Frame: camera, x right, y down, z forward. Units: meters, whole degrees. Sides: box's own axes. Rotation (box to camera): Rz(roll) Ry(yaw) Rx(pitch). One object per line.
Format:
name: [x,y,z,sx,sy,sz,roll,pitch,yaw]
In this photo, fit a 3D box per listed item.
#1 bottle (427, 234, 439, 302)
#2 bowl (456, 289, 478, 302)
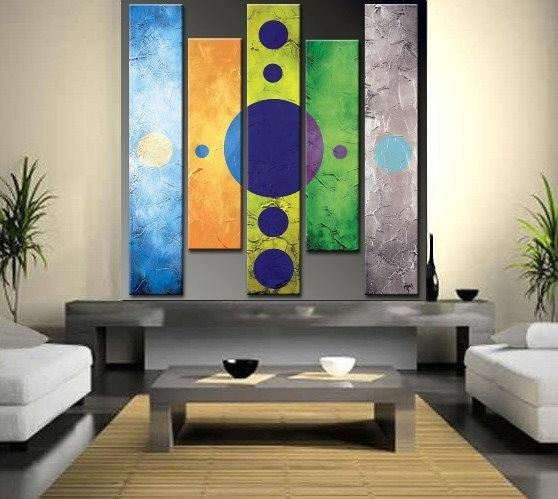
bottle: [1.458,0.169,5.136,0.104,0.621,0.353,0,0,16]
bowl: [1.821,0.436,5.182,0.140,0.072,0.141,1,0,0]
